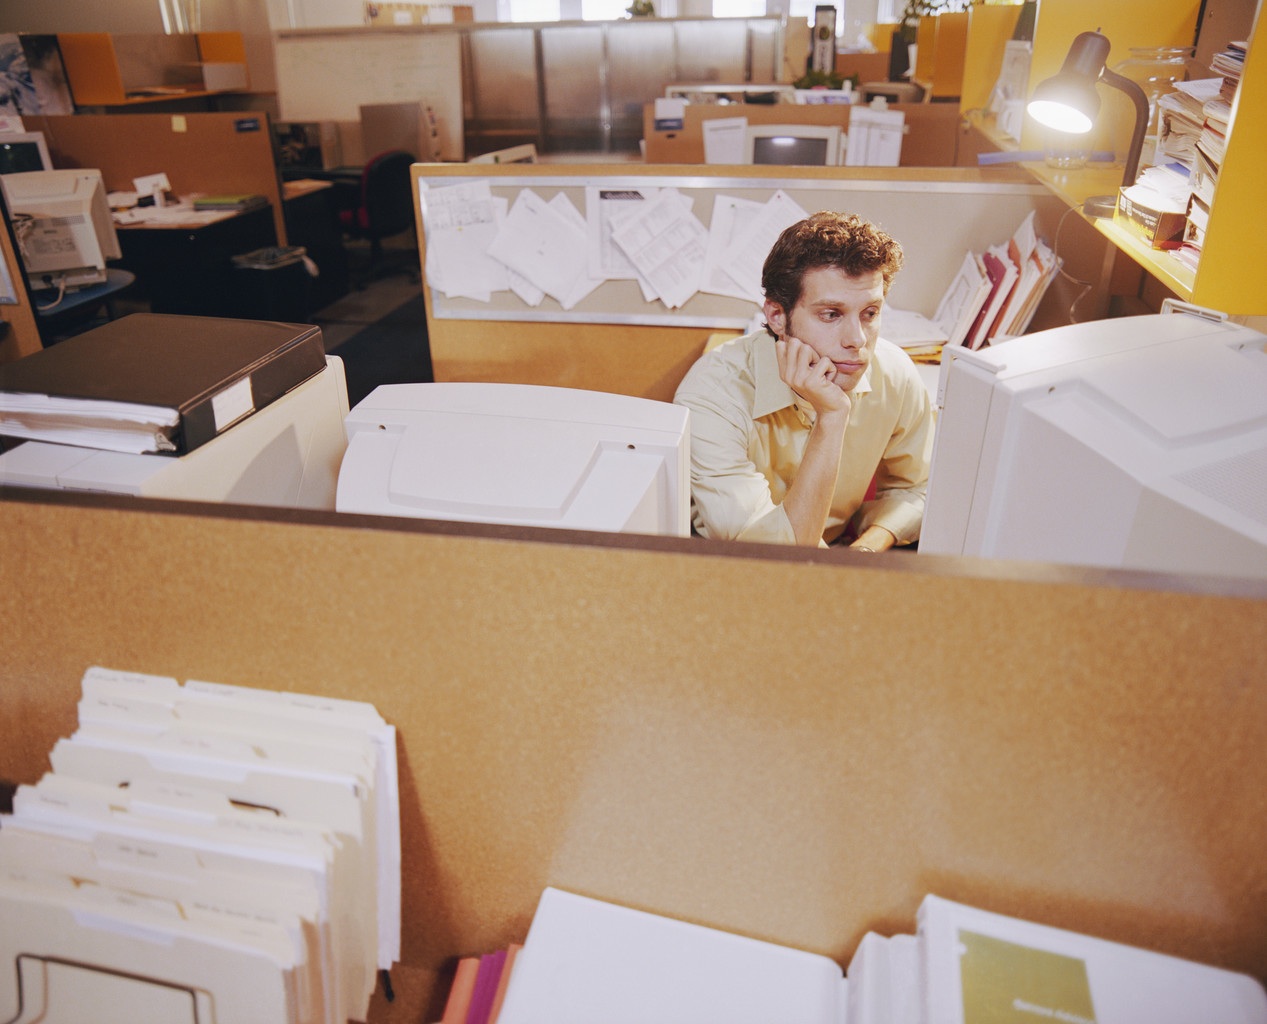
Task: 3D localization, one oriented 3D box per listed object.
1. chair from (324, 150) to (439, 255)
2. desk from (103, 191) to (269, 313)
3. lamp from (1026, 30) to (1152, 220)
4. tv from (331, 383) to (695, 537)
[{"bbox_3d":[-1.588,-1.878,6.063,0.453,0.771,1.240,-9,30,-19],"label":"chair"},{"bbox_3d":[-2.188,-1.280,5.073,0.696,0.743,0.533,-1,19,-1],"label":"desk"},{"bbox_3d":[0.860,-0.722,1.866,0.194,0.305,0.108,10,1,19],"label":"lamp"},{"bbox_3d":[-0.164,-0.048,1.285,0.453,0.177,0.205,7,29,9],"label":"tv"}]
